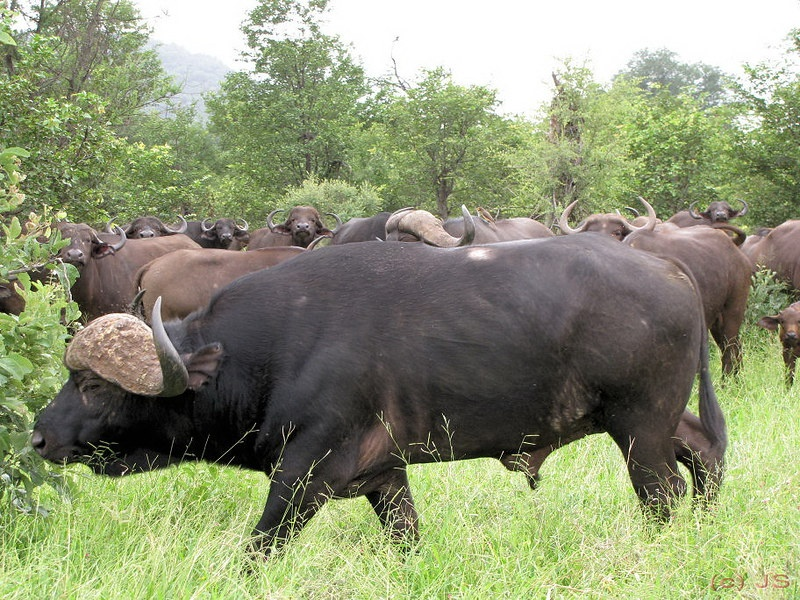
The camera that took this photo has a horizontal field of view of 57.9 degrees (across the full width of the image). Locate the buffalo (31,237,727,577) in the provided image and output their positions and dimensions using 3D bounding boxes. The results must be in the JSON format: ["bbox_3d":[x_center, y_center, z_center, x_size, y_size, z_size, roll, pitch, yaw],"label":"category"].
[{"bbox_3d":[0.071,0.785,4.703,4.479,1.973,1.368,-1,-10,-5],"label":"buffalo"}]

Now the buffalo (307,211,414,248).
[{"bbox_3d":[-0.621,-1.044,11.549,1.331,0.636,0.521,-19,-6,-24],"label":"buffalo"}]
